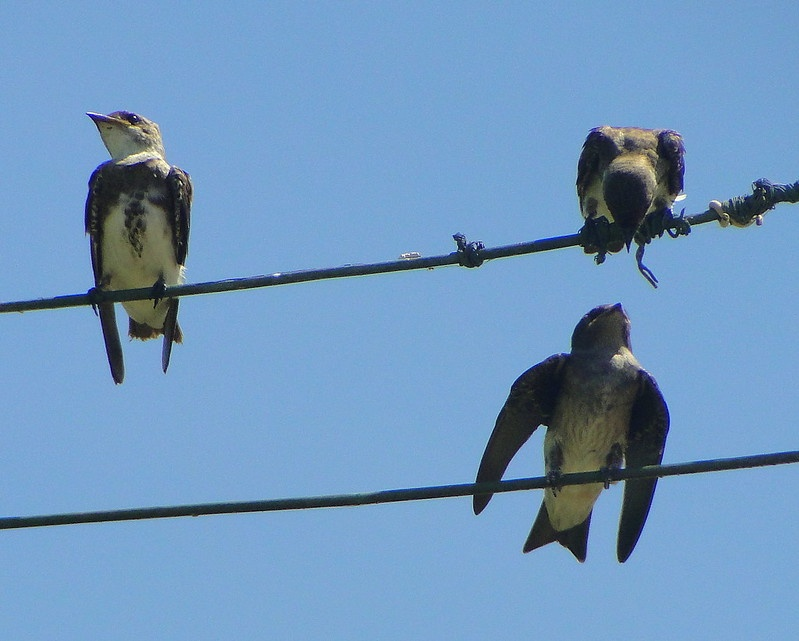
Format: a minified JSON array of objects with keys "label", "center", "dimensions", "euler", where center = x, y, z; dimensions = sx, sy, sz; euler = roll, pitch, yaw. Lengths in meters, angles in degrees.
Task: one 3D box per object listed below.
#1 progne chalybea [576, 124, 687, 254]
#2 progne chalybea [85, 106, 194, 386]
[{"label":"progne chalybea","center":[1.981,-1.108,17.634],"dimensions":[0.939,2.128,1.092],"euler":[1,-68,7]},{"label":"progne chalybea","center":[-2.250,-0.711,18.027],"dimensions":[0.727,2.051,2.308],"euler":[-4,-47,-1]}]
